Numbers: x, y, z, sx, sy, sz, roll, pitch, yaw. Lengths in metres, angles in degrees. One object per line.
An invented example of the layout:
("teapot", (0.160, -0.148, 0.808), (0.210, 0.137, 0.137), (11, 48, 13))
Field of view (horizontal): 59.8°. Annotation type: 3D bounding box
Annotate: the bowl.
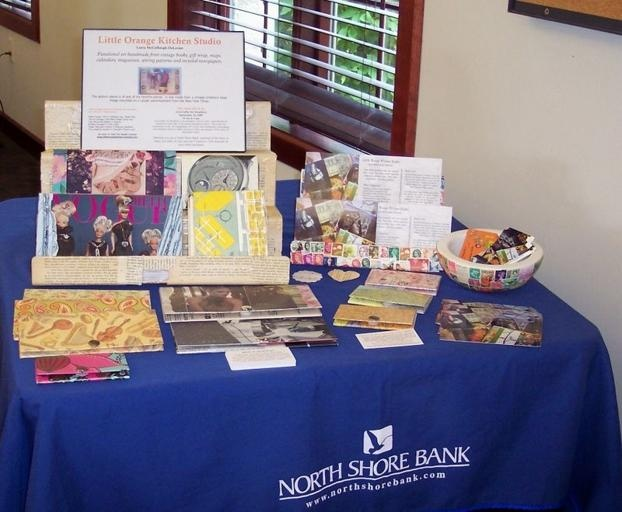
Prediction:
("bowl", (0.499, 0.020, 1.471), (0.251, 0.083, 0.235), (-6, 24, 3))
